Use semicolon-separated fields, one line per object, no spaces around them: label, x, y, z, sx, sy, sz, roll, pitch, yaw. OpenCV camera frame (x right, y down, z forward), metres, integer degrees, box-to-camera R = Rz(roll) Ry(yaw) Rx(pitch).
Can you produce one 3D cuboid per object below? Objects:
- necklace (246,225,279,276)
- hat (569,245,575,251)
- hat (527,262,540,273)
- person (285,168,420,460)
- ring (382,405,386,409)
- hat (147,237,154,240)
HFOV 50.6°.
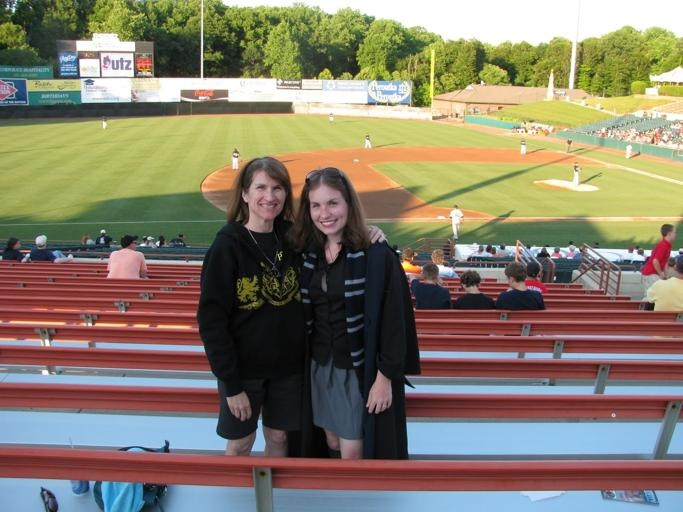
necklace;-0.516;-0.017;5.354;0.141;0.446;0.105;-25;-12;-47
hat;5.984;-0.200;18.671;0.131;0.103;0.145;2;22;5
hat;2.476;0.156;9.288;0.139;0.155;0.167;-4;-1;19
person;0.076;0.443;5.253;1.016;2.081;0.587;6;13;10
ring;0.303;1.066;5.127;0.021;0.024;0.022;-14;36;10
hat;-5.597;-0.511;21.067;0.217;0.087;0.272;2;2;-8
